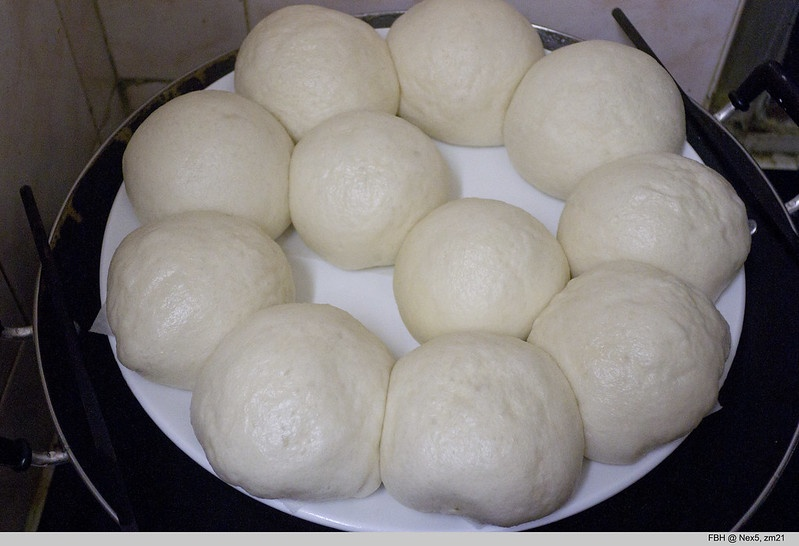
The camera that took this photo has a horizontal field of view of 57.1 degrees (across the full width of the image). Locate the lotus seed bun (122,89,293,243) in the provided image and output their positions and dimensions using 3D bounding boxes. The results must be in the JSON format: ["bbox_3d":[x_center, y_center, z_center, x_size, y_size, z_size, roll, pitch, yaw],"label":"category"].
[{"bbox_3d":[-0.295,-0.175,1.191,0.235,0.133,0.231,3,80,-8],"label":"lotus seed bun"}]
